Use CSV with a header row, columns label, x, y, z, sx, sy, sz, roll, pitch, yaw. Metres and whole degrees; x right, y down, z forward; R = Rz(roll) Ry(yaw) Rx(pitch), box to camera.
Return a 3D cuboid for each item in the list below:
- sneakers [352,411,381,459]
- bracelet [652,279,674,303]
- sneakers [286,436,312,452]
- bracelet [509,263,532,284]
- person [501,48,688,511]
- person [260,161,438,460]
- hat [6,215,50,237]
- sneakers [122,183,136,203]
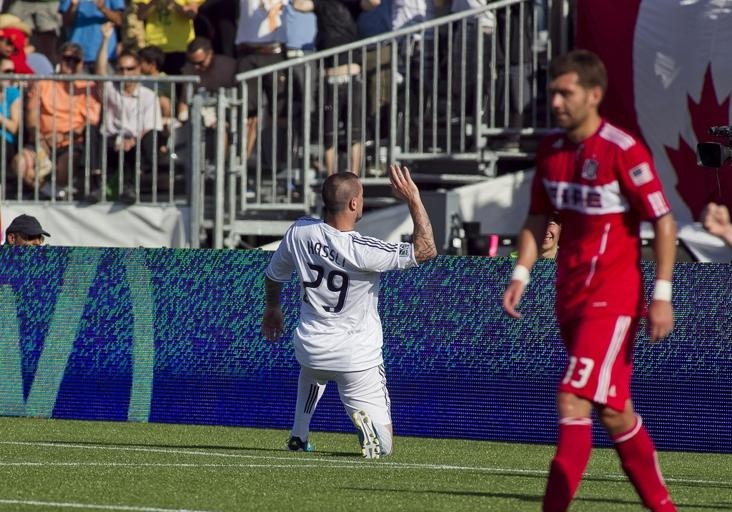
label,x,y,z,sx,sy,sz,roll,pitch,yaw
sneakers,0.014,1.571,15.452,0.158,0.489,0.209,-10,-4,1
bracelet,2.290,0.283,13.761,0.139,0.167,0.144,-3,-12,28
sneakers,-0.599,1.674,15.794,0.093,0.120,0.251,2,-1,29
bracelet,1.218,0.156,14.087,0.131,0.169,0.151,4,8,21
person,1.794,0.197,13.848,1.307,3.513,0.697,3,4,10
person,-0.197,0.485,15.482,1.494,2.589,0.523,5,5,28
hat,-3.431,-0.249,18.015,0.324,0.219,0.246,-1,-5,19
sneakers,-2.577,-0.645,19.277,0.167,0.200,0.207,2,5,-11
